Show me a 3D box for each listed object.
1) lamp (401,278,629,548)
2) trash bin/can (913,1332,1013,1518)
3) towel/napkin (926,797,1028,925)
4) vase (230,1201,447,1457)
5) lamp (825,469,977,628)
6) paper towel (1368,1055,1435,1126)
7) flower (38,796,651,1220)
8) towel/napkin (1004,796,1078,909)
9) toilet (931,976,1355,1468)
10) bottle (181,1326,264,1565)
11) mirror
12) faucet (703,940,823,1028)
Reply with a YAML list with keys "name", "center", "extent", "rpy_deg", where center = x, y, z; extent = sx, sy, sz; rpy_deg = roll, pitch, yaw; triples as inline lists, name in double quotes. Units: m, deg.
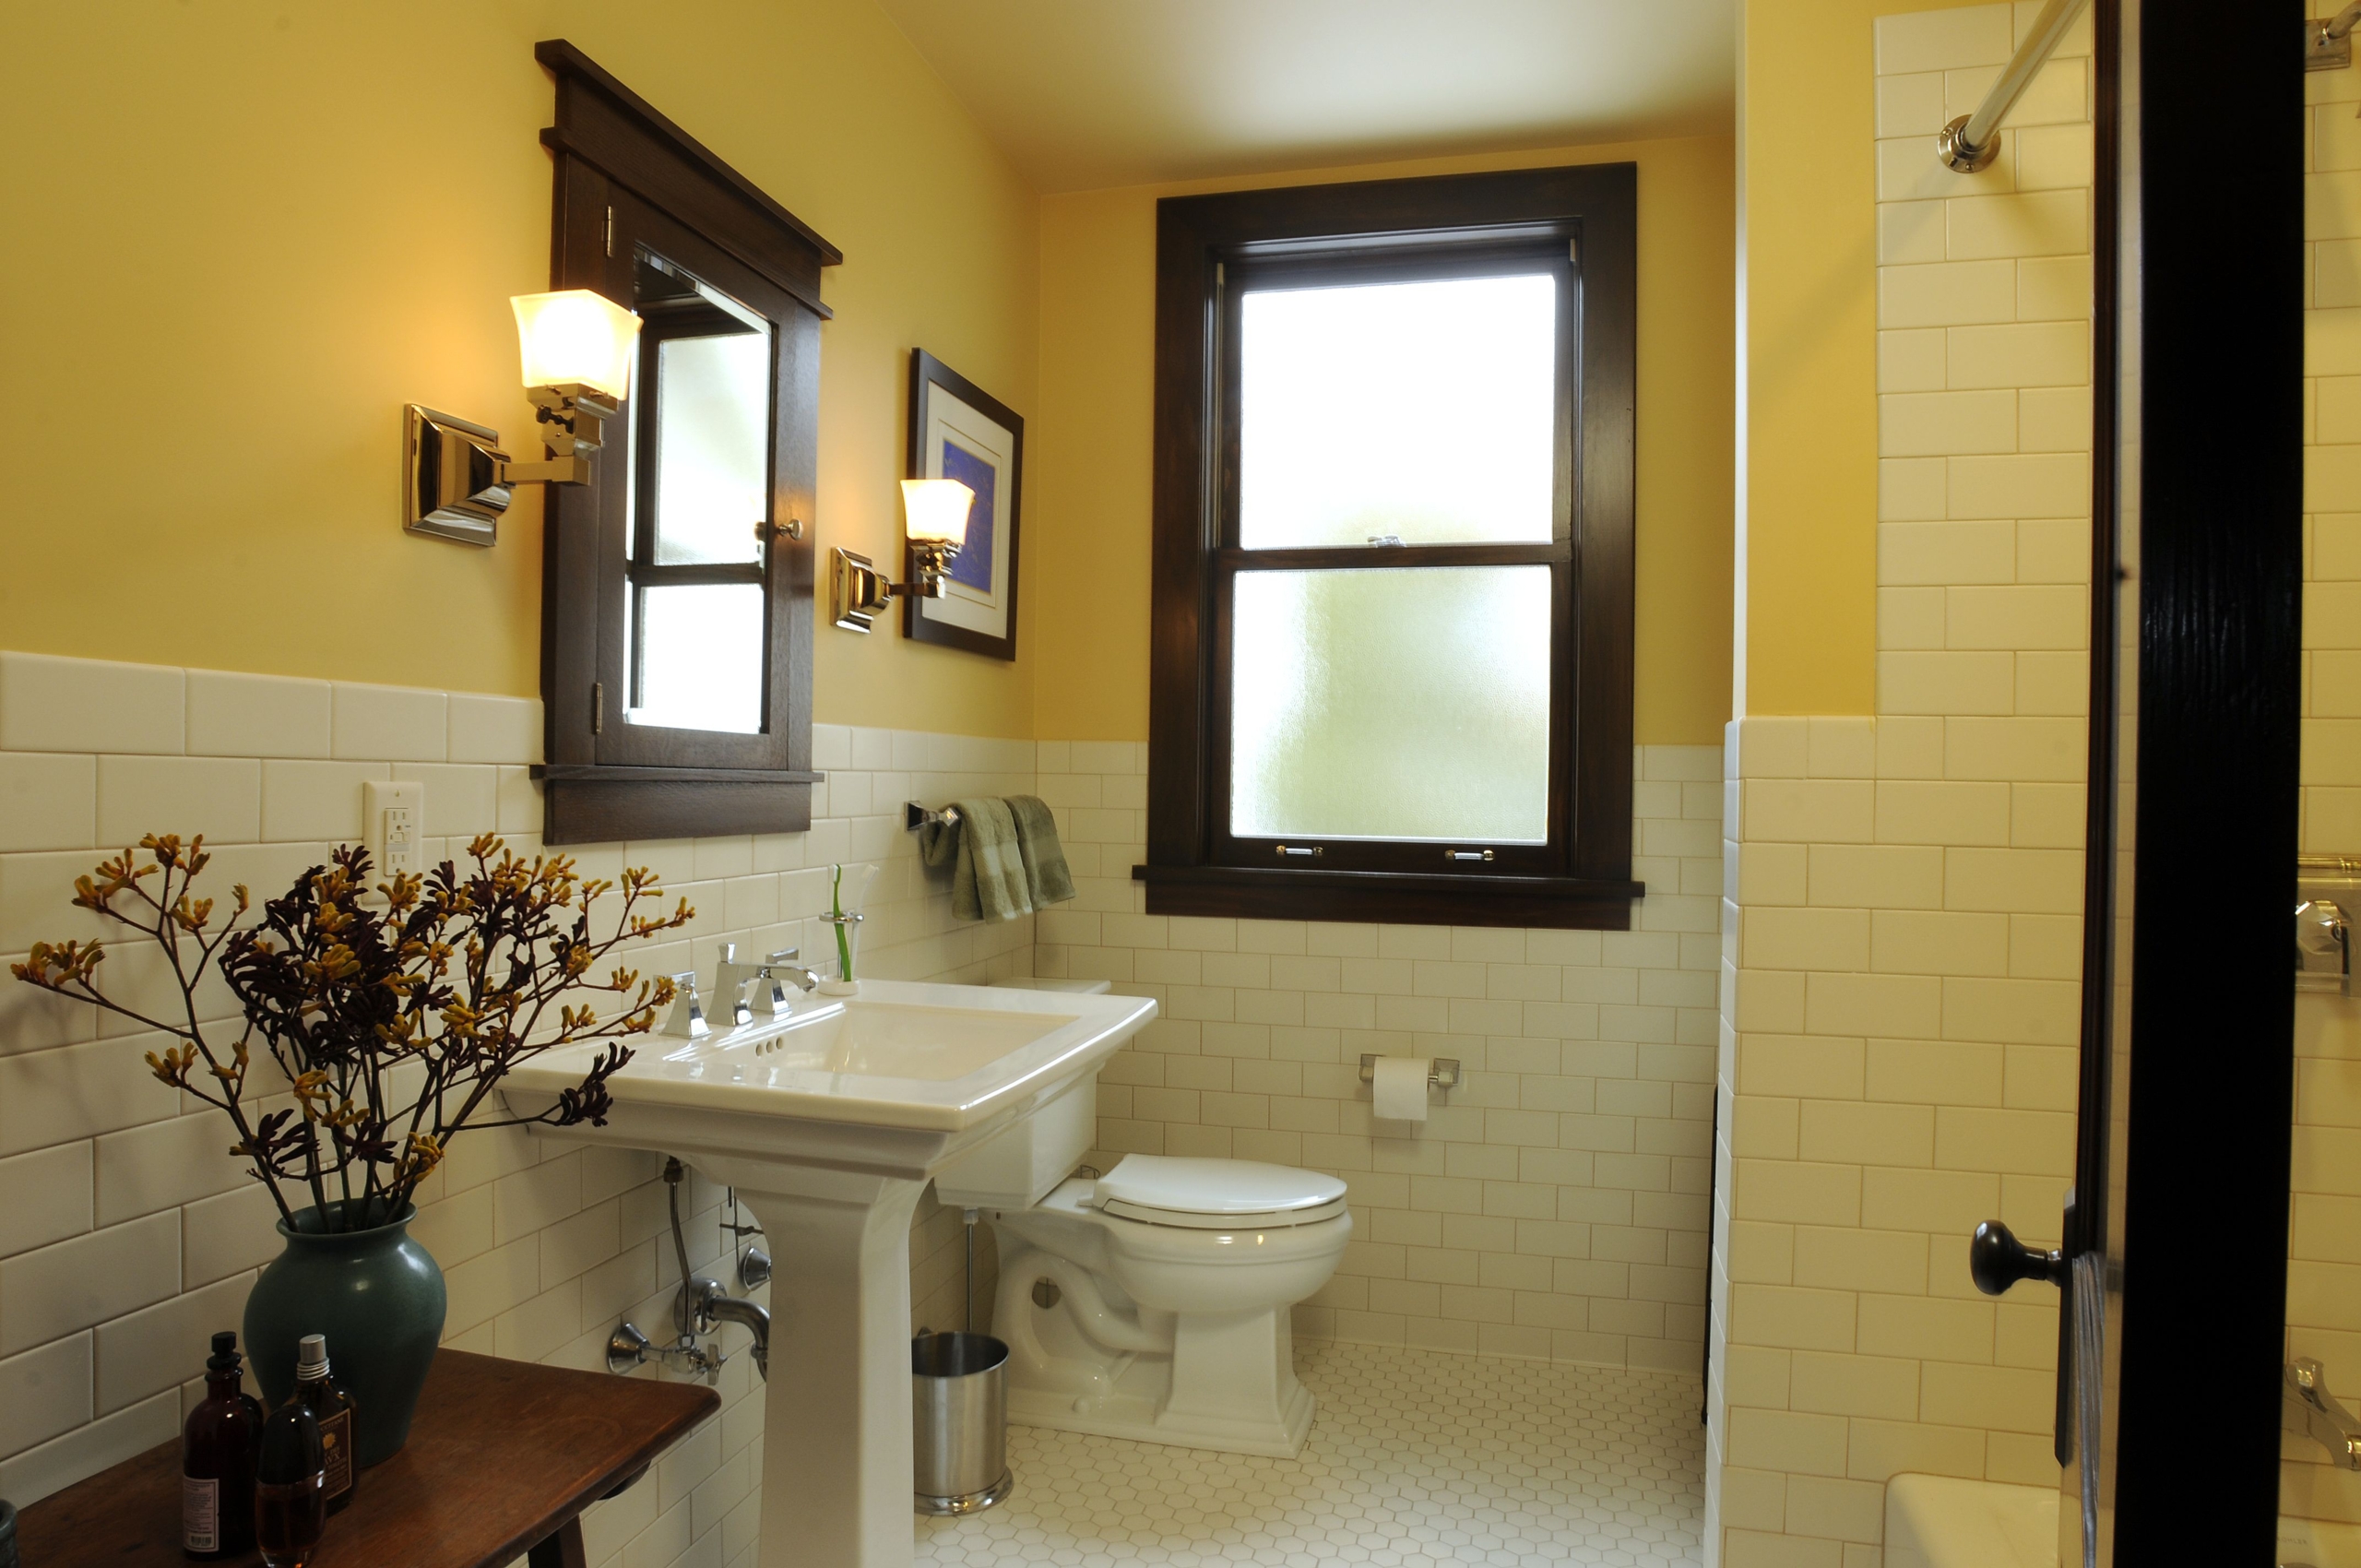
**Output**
- name: "lamp"
  center: [-0.980, -0.539, 2.670]
  extent: [0.219, 0.366, 0.268]
  rpy_deg: [2, 3, 30]
- name: "trash bin/can"
  center: [-0.440, 1.299, 3.672]
  extent: [0.266, 0.300, 0.296]
  rpy_deg: [0, 3, 1]
- name: "towel/napkin"
  center: [-0.445, 0.157, 4.083]
  extent: [0.165, 0.260, 0.344]
  rpy_deg: [2, 1, 27]
- name: "vase"
  center: [-1.089, 0.708, 2.345]
  extent: [0.239, 0.291, 0.242]
  rpy_deg: [-1, 1, -26]
- name: "lamp"
  center: [-0.586, -0.472, 3.797]
  extent: [0.280, 0.331, 0.204]
  rpy_deg: [2, 1, 13]
- name: "paper towel"
  center: [0.525, 0.733, 4.320]
  extent: [0.136, 0.136, 0.136]
  rpy_deg: [1, 3, 11]
- name: "flower"
  center: [-1.128, 0.297, 2.446]
  extent: [0.573, 0.344, 0.567]
  rpy_deg: [7, -5, -13]
- name: "towel/napkin"
  center: [-0.343, 0.160, 4.249]
  extent: [0.079, 0.226, 0.218]
  rpy_deg: [-8, 2, 28]
- name: "toilet"
  center: [-0.047, 0.953, 4.028]
  extent: [0.845, 0.919, 0.497]
  rpy_deg: [1, 5, 18]
- name: "bottle"
  center: [-1.149, 0.785, 2.126]
  extent: [0.131, 0.261, 0.054]
  rpy_deg: [1, 3, 15]
- name: "mirror"
  center: [-0.854, -0.495, 3.151]
  extent: [0.070, 0.802, 0.382]
  rpy_deg: [1, 3, 16]
- name: "faucet"
  center: [-0.760, 0.356, 3.132]
  extent: [0.127, 0.096, 0.157]
  rpy_deg: [0, -2, 12]
